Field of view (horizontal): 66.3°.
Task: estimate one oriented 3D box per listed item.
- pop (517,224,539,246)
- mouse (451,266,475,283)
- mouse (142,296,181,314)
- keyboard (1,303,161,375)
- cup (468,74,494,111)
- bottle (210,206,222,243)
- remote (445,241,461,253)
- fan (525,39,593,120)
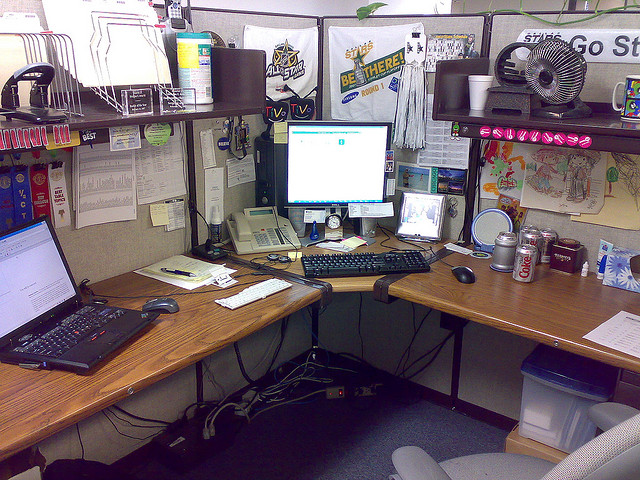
[{"bbox_3d":[0.897,-0.013,2.094,0.072,0.112,0.068,-2,27,-6],"label":"pop"},{"bbox_3d":[0.590,0.142,2.030,0.071,0.046,0.114,-6,18,-16],"label":"mouse"},{"bbox_3d":[-0.566,0.234,1.762,0.109,0.037,0.061,5,11,-4],"label":"mouse"},{"bbox_3d":[-0.758,0.314,1.571,0.281,0.081,0.363,6,19,21],"label":"keyboard"},{"bbox_3d":[0.666,-0.609,2.048,0.094,0.140,0.074,6,19,20],"label":"cup"},{"bbox_3d":[-0.482,-0.064,2.245,0.050,0.167,0.062,-5,18,-13],"label":"bottle"},{"bbox_3d":[0.632,0.040,2.294,0.040,0.013,0.054,-22,33,-35],"label":"remote"},{"bbox_3d":[0.919,-0.622,1.876,0.212,0.313,0.242,-32,36,-27],"label":"fan"}]
